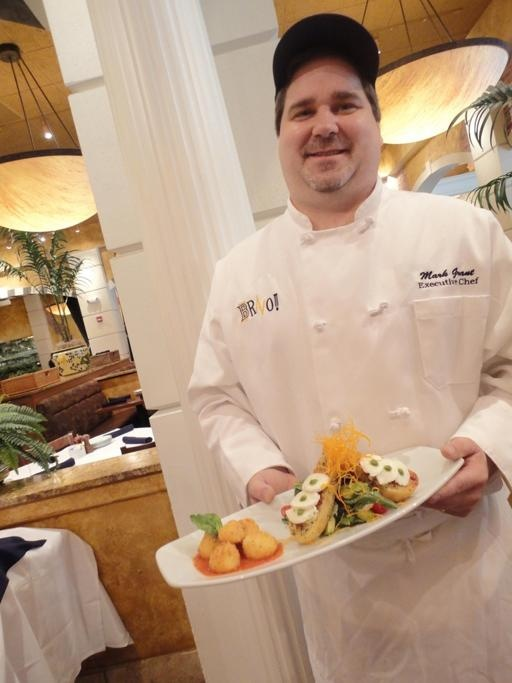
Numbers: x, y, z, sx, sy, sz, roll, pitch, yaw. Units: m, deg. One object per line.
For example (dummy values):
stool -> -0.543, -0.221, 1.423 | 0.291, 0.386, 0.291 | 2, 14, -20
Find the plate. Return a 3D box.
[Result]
plate -> 0.107, 0.307, 0.917 | 0.567, 0.093, 0.307 | -16, 10, -12

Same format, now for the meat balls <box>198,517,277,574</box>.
meat balls -> -0.032, 0.351, 0.882 | 0.120, 0.037, 0.108 | -3, 0, 7
